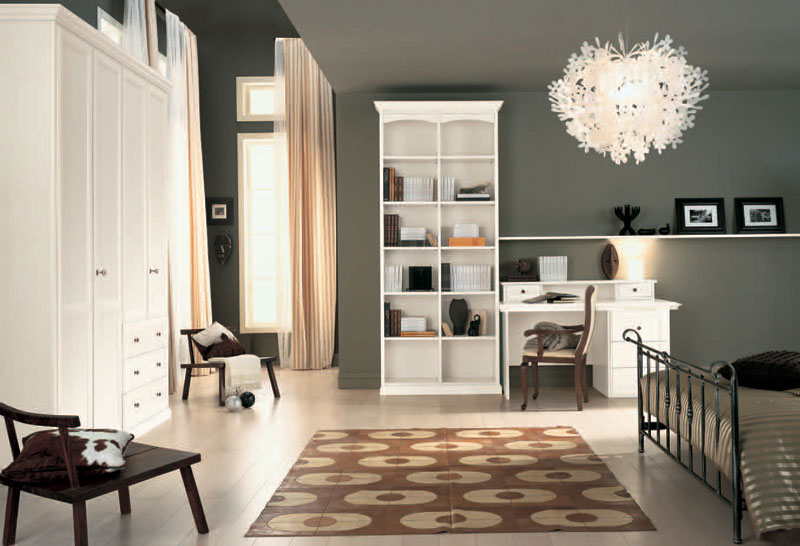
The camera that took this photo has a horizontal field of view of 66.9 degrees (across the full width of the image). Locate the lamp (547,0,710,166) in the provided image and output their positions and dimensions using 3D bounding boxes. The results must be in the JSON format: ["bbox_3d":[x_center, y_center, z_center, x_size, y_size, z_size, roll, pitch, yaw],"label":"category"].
[{"bbox_3d":[1.844,-1.402,5.318,1.612,1.533,0.535,1,7,11],"label":"lamp"}]

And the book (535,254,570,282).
[{"bbox_3d":[1.754,-0.036,7.057,0.343,0.333,0.268,-1,-2,-3],"label":"book"}]

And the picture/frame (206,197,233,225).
[{"bbox_3d":[-2.511,-0.858,8.528,0.429,0.412,0.140,0,-1,-1],"label":"picture/frame"}]

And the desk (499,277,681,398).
[{"bbox_3d":[2.091,0.771,7.021,1.862,1.342,1.126,-1,2,17],"label":"desk"}]

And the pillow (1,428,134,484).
[{"bbox_3d":[-2.172,1.191,3.994,0.768,0.261,0.365,-1,8,-3],"label":"pillow"}]

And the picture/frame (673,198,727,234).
[{"bbox_3d":[3.514,-0.665,7.163,0.432,0.360,0.033,0,-5,0],"label":"picture/frame"}]

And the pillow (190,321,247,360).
[{"bbox_3d":[-2.001,0.785,6.815,0.485,0.338,0.510,-7,10,-38],"label":"pillow"}]

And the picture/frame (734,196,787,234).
[{"bbox_3d":[4.207,-0.668,7.173,0.433,0.360,0.034,0,-6,-1],"label":"picture/frame"}]

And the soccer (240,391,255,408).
[{"bbox_3d":[-1.601,1.347,6.418,0.157,0.184,0.159,6,3,2],"label":"soccer"}]

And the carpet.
[{"bbox_3d":[0.380,1.623,4.780,2.680,0.075,1.487,-1,8,1],"label":"carpet"}]
